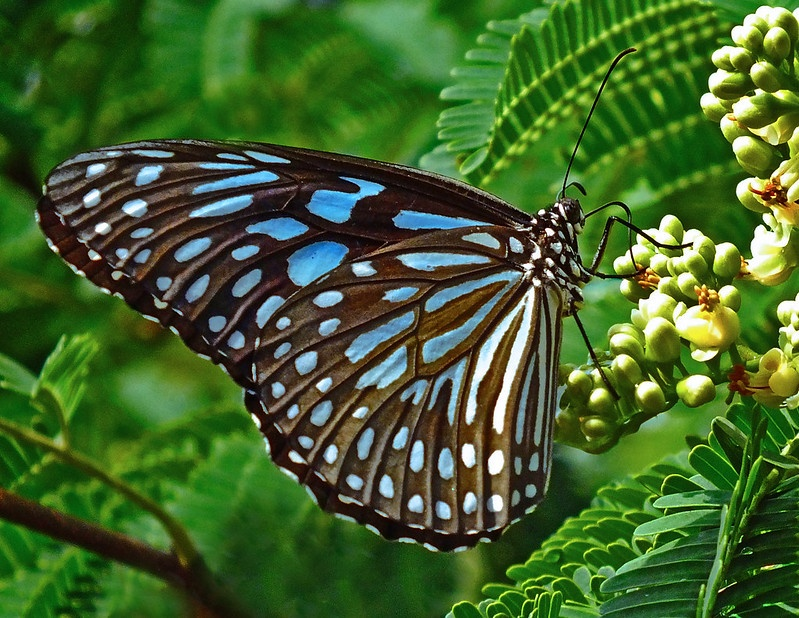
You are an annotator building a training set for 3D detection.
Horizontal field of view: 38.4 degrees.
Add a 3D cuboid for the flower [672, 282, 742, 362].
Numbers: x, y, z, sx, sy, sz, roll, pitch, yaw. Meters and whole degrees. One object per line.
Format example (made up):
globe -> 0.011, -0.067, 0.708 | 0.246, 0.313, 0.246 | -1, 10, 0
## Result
flower -> 0.980, 0.049, 3.599 | 0.219, 0.228, 0.247 | -7, 16, 13
